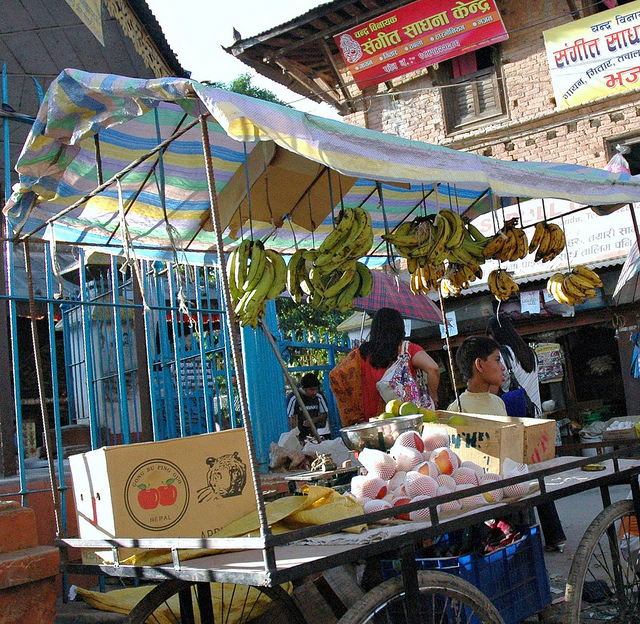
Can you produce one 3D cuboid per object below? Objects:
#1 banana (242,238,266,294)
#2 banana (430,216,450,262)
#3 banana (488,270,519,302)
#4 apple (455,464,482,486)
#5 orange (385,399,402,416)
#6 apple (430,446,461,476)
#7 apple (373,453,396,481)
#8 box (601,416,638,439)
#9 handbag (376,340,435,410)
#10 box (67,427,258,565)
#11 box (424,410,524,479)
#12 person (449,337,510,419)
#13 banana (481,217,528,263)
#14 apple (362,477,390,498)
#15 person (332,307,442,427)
[{"bbox_3d":[-0.341,-0.228,3.429,0.079,0.319,0.116,13,-19,-3],"label":"banana"},{"bbox_3d":[0.773,-0.470,4.270,0.090,0.107,0.323,6,-48,-1],"label":"banana"},{"bbox_3d":[1.513,-0.232,5.442,0.211,0.187,0.211,-9,-6,13],"label":"banana"},{"bbox_3d":[0.610,0.685,2.721,0.077,0.055,0.111,-11,-7,29],"label":"apple"},{"bbox_3d":[0.410,0.546,3.681,0.089,0.060,0.060,-18,13,-3],"label":"orange"},{"bbox_3d":[0.515,0.620,2.691,0.104,0.090,0.124,-1,-6,2],"label":"apple"},{"bbox_3d":[0.260,0.640,2.705,0.104,0.077,0.109,1,-15,-11],"label":"apple"},{"bbox_3d":[2.437,0.953,5.303,0.247,0.127,0.949,-10,-6,25],"label":"box"},{"bbox_3d":[0.621,0.464,4.770,0.411,0.471,0.357,5,1,-8],"label":"handbag"},{"bbox_3d":[-0.603,0.670,2.460,0.684,0.380,0.333,-6,-6,-11],"label":"box"},{"bbox_3d":[0.752,0.629,3.131,0.323,0.172,0.319,0,-2,31],"label":"box"},{"bbox_3d":[1.114,0.495,4.628,0.401,0.632,0.805,-3,-2,28],"label":"person"},{"bbox_3d":[1.370,-0.521,4.853,0.246,0.424,0.156,20,-28,38],"label":"banana"},{"bbox_3d":[0.231,0.698,2.600,0.060,0.083,0.148,-13,-8,35],"label":"apple"},{"bbox_3d":[0.498,0.498,5.143,0.870,1.037,0.427,-5,23,1],"label":"person"}]
